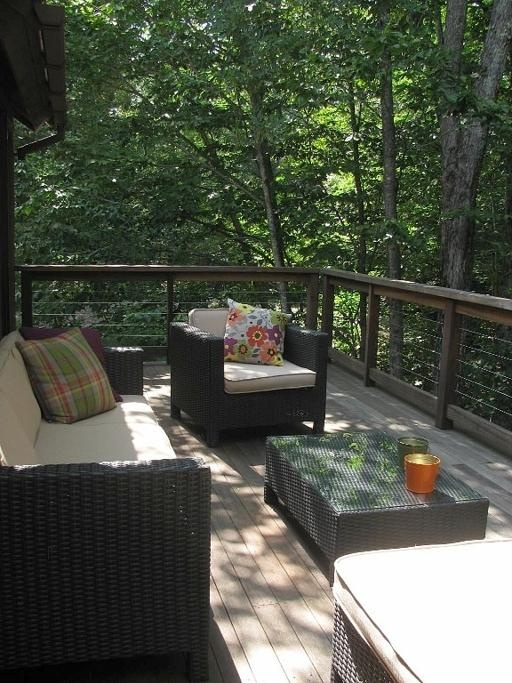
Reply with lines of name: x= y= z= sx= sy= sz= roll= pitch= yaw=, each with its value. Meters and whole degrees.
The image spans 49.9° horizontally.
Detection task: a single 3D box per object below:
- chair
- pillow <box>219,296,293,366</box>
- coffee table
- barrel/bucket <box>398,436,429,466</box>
chair: x=0.003 y=0.261 z=3.913 sx=1.060 sy=0.662 sz=1.006 roll=0 pitch=8 yaw=7
pillow: x=0.001 y=-0.056 z=3.960 sx=0.502 sy=0.434 sz=0.171 roll=6 pitch=3 yaw=14
coffee table: x=0.495 y=0.598 z=2.131 sx=0.530 sy=0.297 sz=0.795 roll=-1 pitch=9 yaw=-15
barrel/bucket: x=0.645 y=0.442 z=2.258 sx=0.114 sy=0.087 sz=0.122 roll=1 pitch=4 yaw=0
